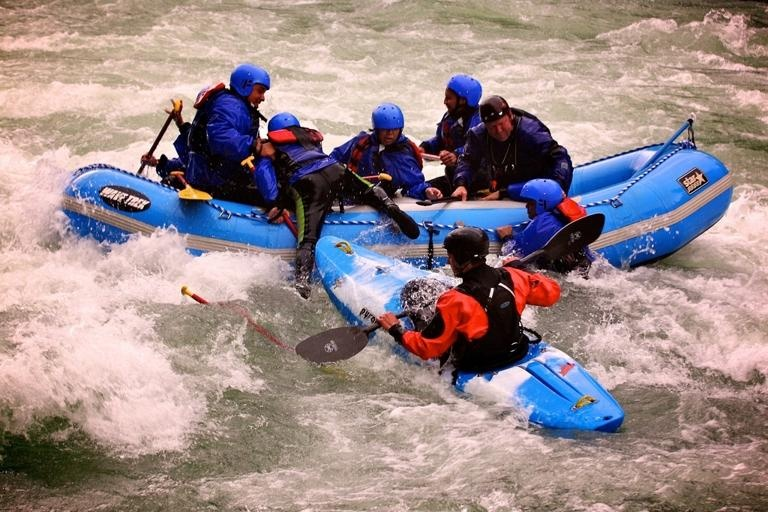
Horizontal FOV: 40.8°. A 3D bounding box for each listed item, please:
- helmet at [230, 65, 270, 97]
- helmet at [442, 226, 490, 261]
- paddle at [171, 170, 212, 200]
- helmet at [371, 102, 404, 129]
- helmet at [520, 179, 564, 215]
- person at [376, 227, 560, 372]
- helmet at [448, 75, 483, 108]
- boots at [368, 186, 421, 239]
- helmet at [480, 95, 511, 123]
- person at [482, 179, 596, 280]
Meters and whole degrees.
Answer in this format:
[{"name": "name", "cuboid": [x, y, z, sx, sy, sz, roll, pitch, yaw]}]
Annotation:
[{"name": "helmet", "cuboid": [-1.623, -2.190, 12.698, 0.553, 0.347, 0.342, 10, 26, 3]}, {"name": "helmet", "cuboid": [0.845, -0.118, 10.563, 0.472, 0.309, 0.318, -21, 12, 28]}, {"name": "paddle", "cuboid": [-2.326, -0.830, 12.635, 0.392, 0.253, 0.732, -11, 31, -16]}, {"name": "helmet", "cuboid": [0.052, -1.742, 12.789, 0.332, 0.378, 0.270, 4, 57, -10]}, {"name": "helmet", "cuboid": [1.884, -0.701, 12.166, 0.535, 0.333, 0.362, 6, 16, 19]}, {"name": "person", "cuboid": [0.950, 0.520, 11.099, 1.314, 1.326, 0.781, -27, 49, -7]}, {"name": "helmet", "cuboid": [1.048, -2.208, 13.623, 0.573, 0.334, 0.350, 11, 22, -10]}, {"name": "boots", "cuboid": [0.134, -0.523, 12.592, 0.964, 0.276, 0.263, 43, 16, 17]}, {"name": "helmet", "cuboid": [1.349, -1.813, 12.586, 0.383, 0.208, 0.330, 4, 42, 13]}, {"name": "person", "cuboid": [1.914, -0.345, 12.207, 1.398, 1.030, 1.086, 10, 41, 17]}]
